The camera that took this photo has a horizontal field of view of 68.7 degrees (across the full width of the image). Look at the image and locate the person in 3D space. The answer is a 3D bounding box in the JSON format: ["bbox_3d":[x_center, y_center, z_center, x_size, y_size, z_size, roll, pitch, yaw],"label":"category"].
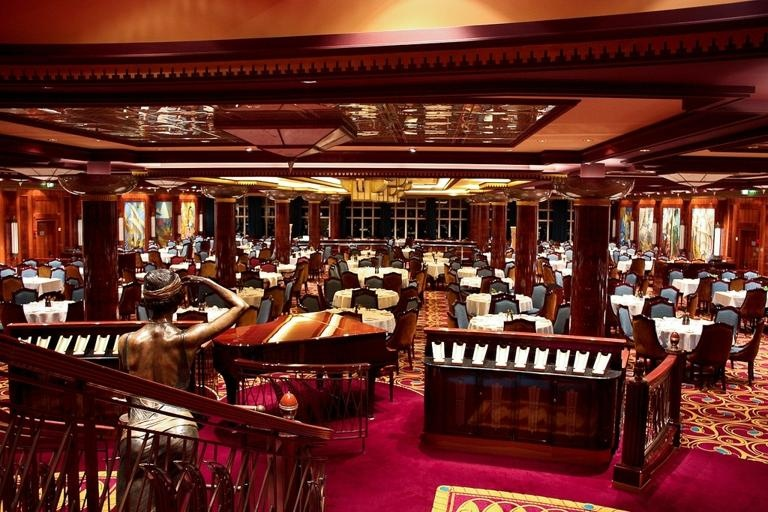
[{"bbox_3d":[-1.403,0.909,3.833,0.860,1.487,1.425,-2,12,-17],"label":"person"}]
